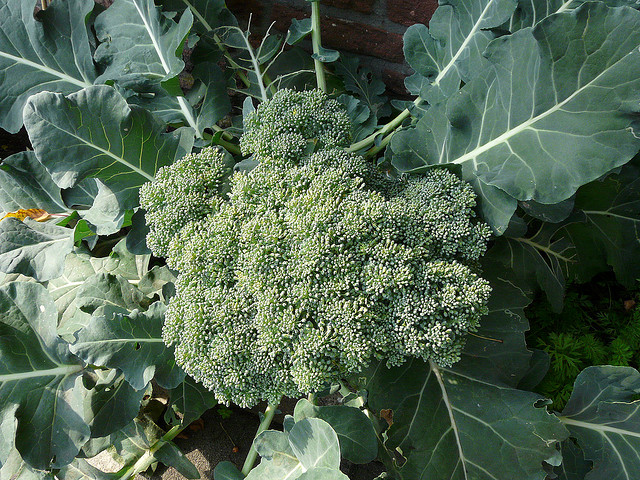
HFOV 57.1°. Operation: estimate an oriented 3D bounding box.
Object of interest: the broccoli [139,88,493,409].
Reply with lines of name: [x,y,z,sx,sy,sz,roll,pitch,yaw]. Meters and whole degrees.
broccoli: [-0.051,0.054,1.585,0.758,0.345,0.914,-2,69,9]
